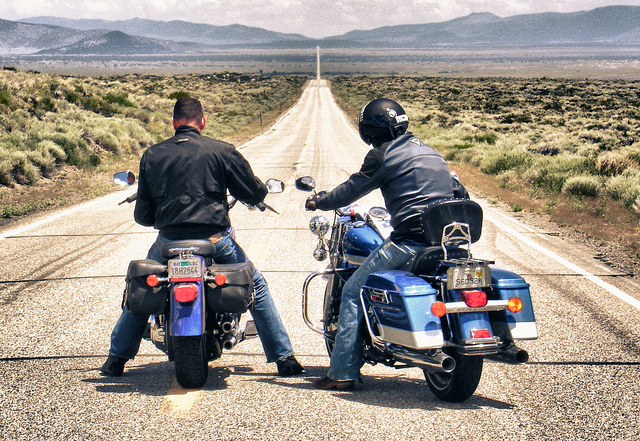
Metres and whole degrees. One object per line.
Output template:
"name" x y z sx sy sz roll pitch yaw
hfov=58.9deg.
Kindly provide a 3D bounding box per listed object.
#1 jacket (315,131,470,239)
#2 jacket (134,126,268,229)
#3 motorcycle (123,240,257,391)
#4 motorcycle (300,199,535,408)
"jacket" 0.842 -0.363 5.946 1.729 1.148 0.991 -13 10 -30
"jacket" -1.246 -0.434 5.903 1.398 0.975 0.878 -3 7 0
"motorcycle" -1.502 0.587 6.592 1.441 1.727 2.854 1 6 -11
"motorcycle" 0.788 0.746 6.503 1.523 1.901 3.486 -1 4 -24
